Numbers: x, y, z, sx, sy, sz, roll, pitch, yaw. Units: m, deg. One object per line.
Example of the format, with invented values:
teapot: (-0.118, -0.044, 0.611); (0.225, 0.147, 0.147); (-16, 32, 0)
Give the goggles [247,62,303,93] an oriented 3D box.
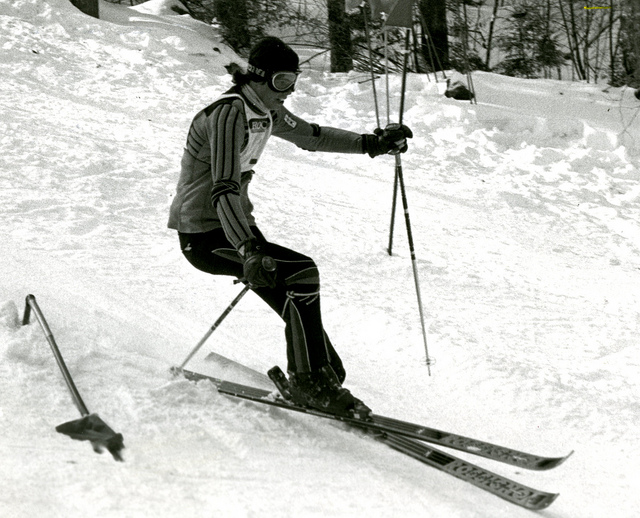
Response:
goggles: (-0.273, -1.074, 4.315); (0.309, 0.163, 0.120); (4, 17, -4)
